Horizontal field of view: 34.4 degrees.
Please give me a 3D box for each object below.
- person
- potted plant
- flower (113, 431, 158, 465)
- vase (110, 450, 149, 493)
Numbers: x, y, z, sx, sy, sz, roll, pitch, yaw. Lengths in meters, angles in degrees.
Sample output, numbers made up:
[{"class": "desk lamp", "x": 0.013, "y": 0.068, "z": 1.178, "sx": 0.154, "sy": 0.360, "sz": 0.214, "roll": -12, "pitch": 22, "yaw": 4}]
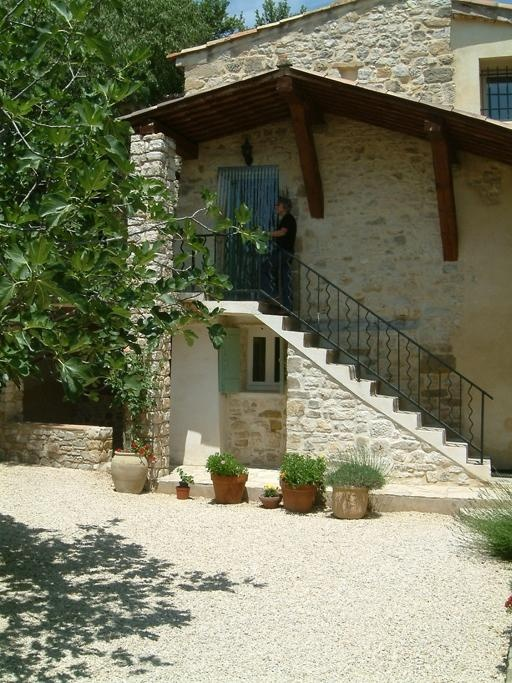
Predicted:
[{"class": "person", "x": 0.283, "y": -1.124, "z": 10.266, "sx": 0.406, "sy": 1.462, "sz": 1.126, "roll": 2, "pitch": 3, "yaw": 3}, {"class": "potted plant", "x": 0.463, "y": 1.467, "z": 8.534, "sx": 1.810, "sy": 0.609, "sz": 0.609, "roll": 3, "pitch": 3, "yaw": 26}, {"class": "flower", "x": -1.345, "y": 1.198, "z": 9.233, "sx": 0.413, "sy": 0.329, "sz": 0.375, "roll": 1, "pitch": -11, "yaw": 3}, {"class": "vase", "x": -1.385, "y": 1.430, "z": 8.982, "sx": 0.474, "sy": 0.413, "sz": 0.444, "roll": 1, "pitch": -7, "yaw": -3}]
